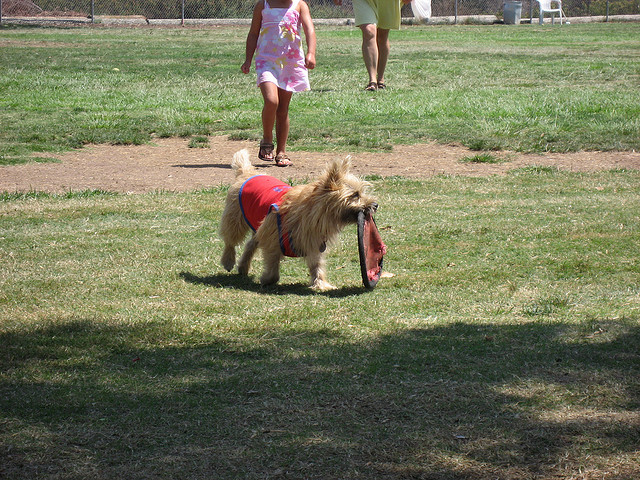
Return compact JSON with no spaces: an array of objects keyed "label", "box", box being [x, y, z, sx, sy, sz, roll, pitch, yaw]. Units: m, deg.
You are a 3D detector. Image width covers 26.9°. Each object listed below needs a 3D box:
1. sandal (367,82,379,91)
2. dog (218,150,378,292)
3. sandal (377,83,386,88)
[{"label":"sandal","box":[0.955,-2.823,24.775,0.200,0.124,0.499,-1,7,0]},{"label":"dog","box":[-0.411,-0.229,15.575,0.913,1.553,2.436,-4,11,-38]},{"label":"sandal","box":[1.118,-2.881,25.082,0.142,0.095,0.359,0,2,2]}]
